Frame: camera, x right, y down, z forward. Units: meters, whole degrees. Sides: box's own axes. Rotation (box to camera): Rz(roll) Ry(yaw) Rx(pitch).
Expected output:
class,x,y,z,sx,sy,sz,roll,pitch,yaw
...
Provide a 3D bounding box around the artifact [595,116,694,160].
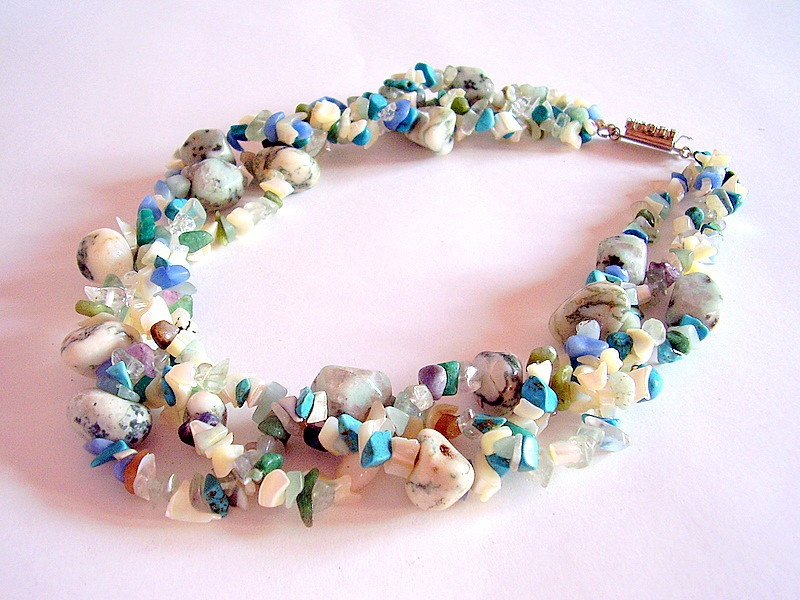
class,x,y,z,sx,sy,sz,roll,pitch,yaw
artifact,0.902,-0.595,3.200,0.296,0.085,0.064,18,46,8
